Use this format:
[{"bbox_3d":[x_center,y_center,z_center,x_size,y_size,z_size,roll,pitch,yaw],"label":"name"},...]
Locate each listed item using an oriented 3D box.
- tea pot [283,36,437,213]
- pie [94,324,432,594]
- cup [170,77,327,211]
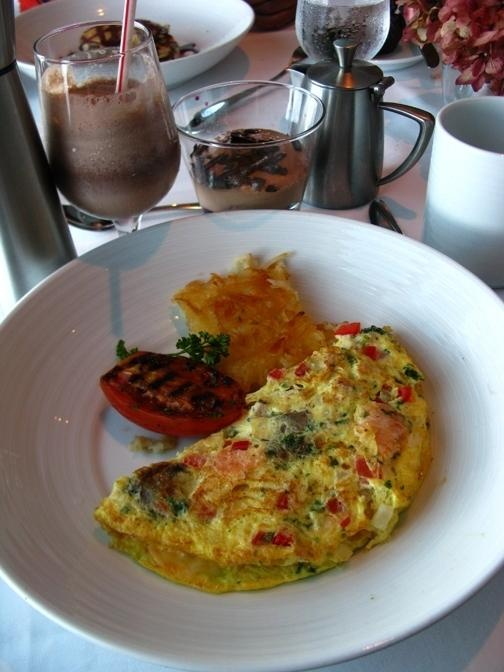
[{"bbox_3d":[0.214,-0.376,1.112,0.185,0.266,0.296,-31,42,-23],"label":"tea pot"},{"bbox_3d":[0.041,0.148,0.697,0.383,0.097,0.251,-26,44,-32],"label":"pie"},{"bbox_3d":[-0.005,-0.324,1.109,0.271,0.182,0.256,-1,42,1],"label":"cup"}]
